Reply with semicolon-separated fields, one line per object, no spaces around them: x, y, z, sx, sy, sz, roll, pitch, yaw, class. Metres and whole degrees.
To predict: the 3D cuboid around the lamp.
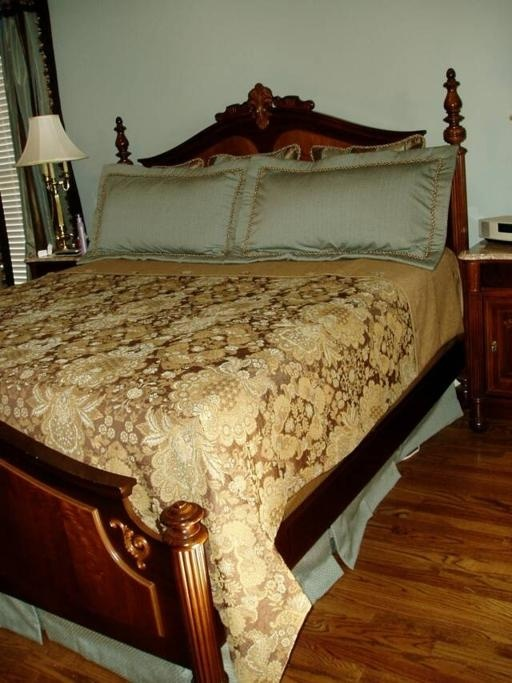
-1.187;-0.890;3.314;0.489;0.742;0.396;-7;9;-31;lamp
